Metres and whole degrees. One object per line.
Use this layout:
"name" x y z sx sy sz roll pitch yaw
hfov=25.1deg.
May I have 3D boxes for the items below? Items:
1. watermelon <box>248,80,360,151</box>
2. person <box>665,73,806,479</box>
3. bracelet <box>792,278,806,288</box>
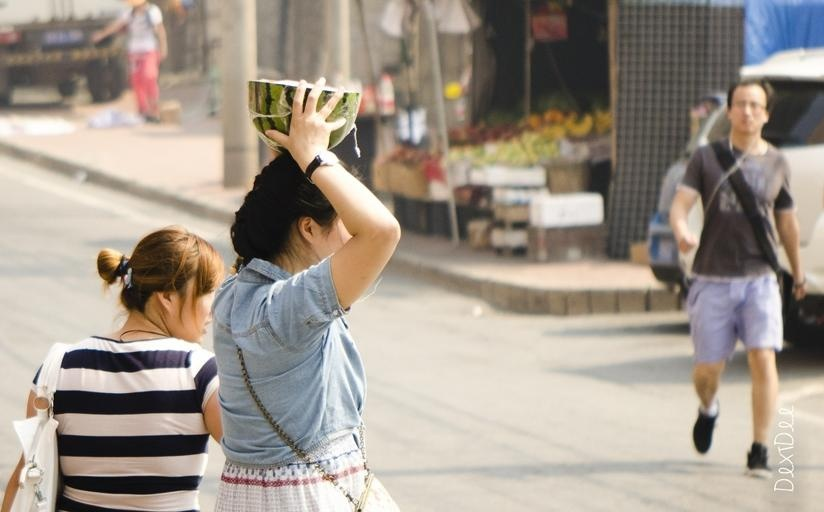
"watermelon" -0.622 -0.796 10.623 0.632 0.387 0.299 3 5 28
"person" 2.170 0.152 12.435 1.047 2.606 1.043 -2 7 -14
"bracelet" 2.598 0.185 12.465 0.063 0.056 0.056 -9 13 -31
